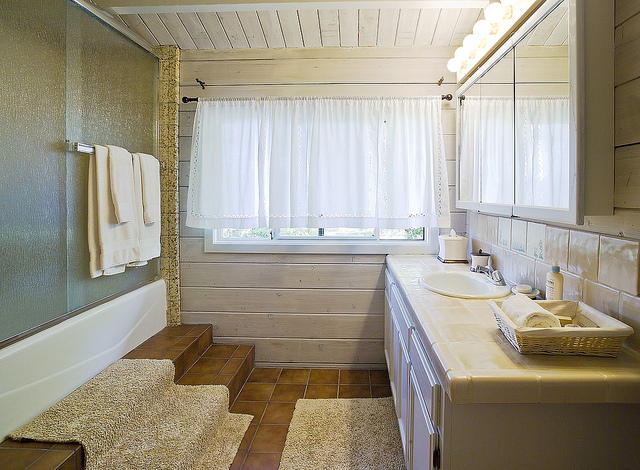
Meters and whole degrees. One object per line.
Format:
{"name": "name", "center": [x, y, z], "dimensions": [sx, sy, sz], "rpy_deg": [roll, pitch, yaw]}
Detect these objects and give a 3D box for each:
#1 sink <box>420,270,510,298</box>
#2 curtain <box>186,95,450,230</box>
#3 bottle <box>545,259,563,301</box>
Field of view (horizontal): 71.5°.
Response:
{"name": "sink", "center": [0.832, 0.317, 2.621], "dimensions": [0.481, 0.134, 0.520], "rpy_deg": [-1, 8, 1]}
{"name": "curtain", "center": [-0.003, -0.539, 3.354], "dimensions": [1.896, 1.046, 0.148], "rpy_deg": [0, 2, 1]}
{"name": "bottle", "center": [1.156, 0.212, 2.177], "dimensions": [0.070, 0.185, 0.170], "rpy_deg": [3, 9, 27]}
